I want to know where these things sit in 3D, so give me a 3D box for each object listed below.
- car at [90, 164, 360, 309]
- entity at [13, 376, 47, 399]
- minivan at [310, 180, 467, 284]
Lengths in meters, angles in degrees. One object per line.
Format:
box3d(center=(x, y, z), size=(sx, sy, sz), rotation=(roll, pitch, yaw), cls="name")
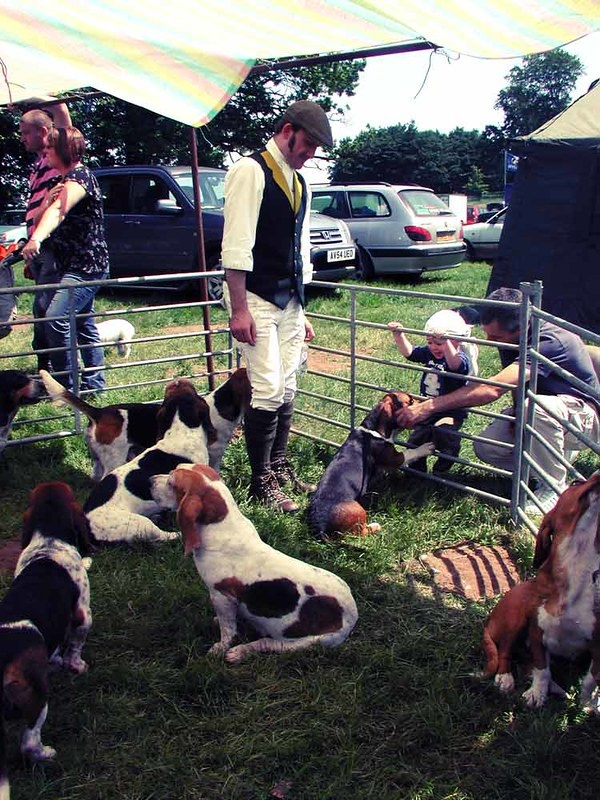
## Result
box3d(center=(-1.640, -3.008, 10.558), size=(5.044, 2.260, 2.725), rotation=(3, 15, 21), cls="car")
box3d(center=(-1.618, -0.073, 3.662), size=(0.158, 0.077, 0.097), rotation=(11, 48, -2), cls="entity")
box3d(center=(1.913, -3.279, 11.625), size=(3.585, 1.128, 1.516), rotation=(25, 34, 37), cls="minivan")
